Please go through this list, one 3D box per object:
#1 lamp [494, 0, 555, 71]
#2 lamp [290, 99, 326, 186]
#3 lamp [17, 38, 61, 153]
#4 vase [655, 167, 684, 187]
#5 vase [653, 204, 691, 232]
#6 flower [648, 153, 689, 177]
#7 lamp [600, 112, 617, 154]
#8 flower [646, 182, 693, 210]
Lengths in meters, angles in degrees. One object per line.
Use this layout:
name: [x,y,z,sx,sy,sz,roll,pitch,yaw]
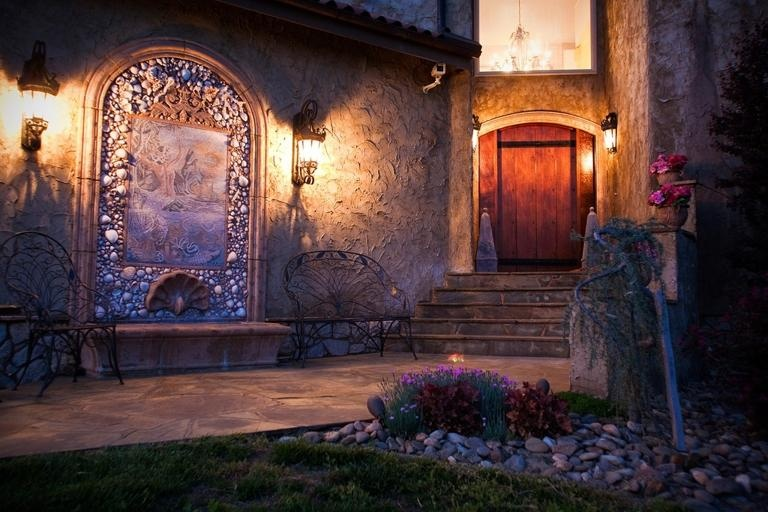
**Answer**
lamp: [3.185,-5.083,12.308,1.268,1.617,0.353,0,1,12]
lamp: [-1.155,-1.733,8.052,0.459,1.340,0.517,0,1,-9]
lamp: [-4.189,-1.916,6.473,0.345,1.336,0.306,0,1,9]
vase: [3.956,-1.064,7.395,0.280,0.208,0.256,-1,-2,25]
vase: [3.701,-0.496,6.881,0.357,0.276,0.378,0,-8,5]
flower: [3.907,-1.245,7.440,0.463,0.362,0.484,1,-2,-7]
lamp: [4.291,-2.336,10.250,0.206,0.778,0.457,0,1,-2]
flower: [3.720,-0.772,6.969,0.368,0.275,0.384,-10,2,-4]
